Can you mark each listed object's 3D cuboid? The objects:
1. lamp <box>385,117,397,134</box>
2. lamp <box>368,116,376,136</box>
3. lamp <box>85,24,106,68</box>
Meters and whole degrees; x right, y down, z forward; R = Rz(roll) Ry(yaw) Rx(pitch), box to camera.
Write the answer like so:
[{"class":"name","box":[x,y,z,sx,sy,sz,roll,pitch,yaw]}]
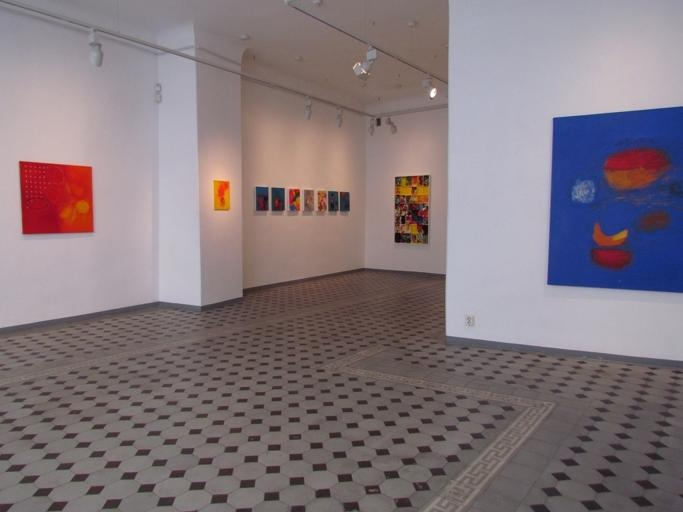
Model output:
[{"class":"lamp","box":[1.566,-4.184,14.593,0.442,0.526,0.227,8,11,42]},{"class":"lamp","box":[1.025,-4.255,14.957,0.300,0.569,0.303,3,9,19]},{"class":"lamp","box":[-3.890,-3.300,7.211,0.158,0.492,0.406,-4,10,-28]}]
